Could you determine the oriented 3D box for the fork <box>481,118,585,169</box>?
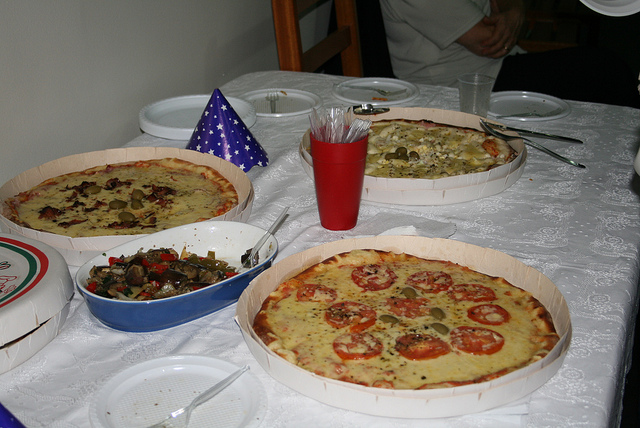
[{"bbox_3d":[0.843,-0.275,1.885,0.541,0.061,0.061,25,89,15],"label":"fork"}]

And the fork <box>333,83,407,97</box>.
[{"bbox_3d":[0.258,-0.629,2.409,0.379,0.045,0.045,10,77,4],"label":"fork"}]

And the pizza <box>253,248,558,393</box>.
[{"bbox_3d":[0.237,0.234,1.180,0.596,0.057,0.556,1,26,-13],"label":"pizza"}]

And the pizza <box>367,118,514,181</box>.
[{"bbox_3d":[0.448,-0.255,1.864,0.471,0.049,0.322,13,33,27],"label":"pizza"}]

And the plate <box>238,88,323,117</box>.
[{"bbox_3d":[-0.165,-0.531,2.337,0.334,0.059,0.296,-19,45,-20],"label":"plate"}]

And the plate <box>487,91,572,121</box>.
[{"bbox_3d":[0.993,-0.519,2.249,0.290,0.027,0.255,6,27,18],"label":"plate"}]

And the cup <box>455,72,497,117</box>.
[{"bbox_3d":[0.674,-0.538,2.168,0.225,0.196,0.193,-3,32,0],"label":"cup"}]

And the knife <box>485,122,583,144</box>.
[{"bbox_3d":[0.879,-0.332,1.961,0.410,0.018,0.041,15,17,4],"label":"knife"}]

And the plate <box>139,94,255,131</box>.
[{"bbox_3d":[-0.588,-0.487,2.235,0.378,0.031,0.321,-2,28,-9],"label":"plate"}]
